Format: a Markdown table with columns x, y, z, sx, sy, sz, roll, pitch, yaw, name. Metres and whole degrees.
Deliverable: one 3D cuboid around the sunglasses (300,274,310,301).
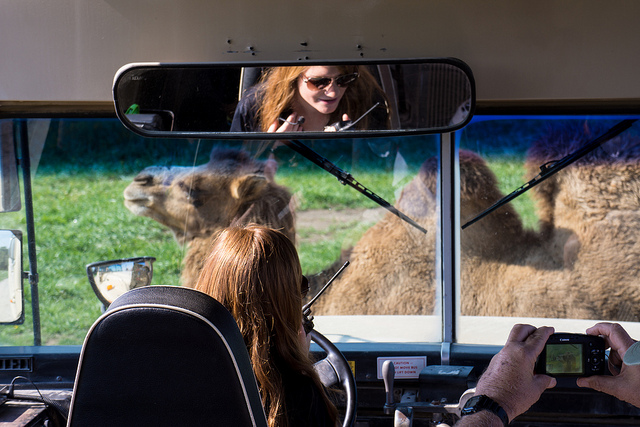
| x | y | z | sx | sy | sz | roll | pitch | yaw | name |
| --- | --- | --- | --- | --- | --- | --- | --- | --- | --- |
| -0.067 | 0.357 | 4.743 | 0.068 | 0.097 | 0.035 | -3 | -3 | -11 | sunglasses |
